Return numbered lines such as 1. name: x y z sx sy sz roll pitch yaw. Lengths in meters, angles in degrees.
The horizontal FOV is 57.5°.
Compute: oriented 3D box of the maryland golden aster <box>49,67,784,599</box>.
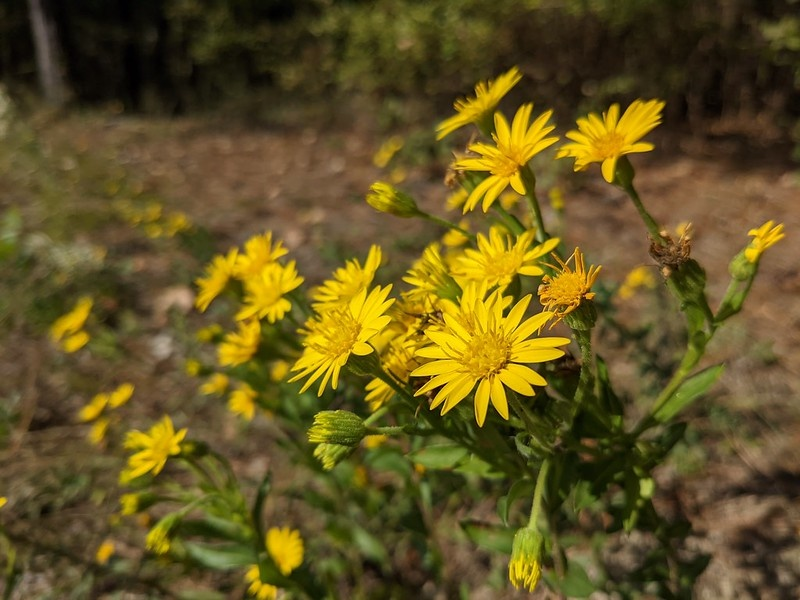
1. maryland golden aster: 0.095 0.235 2.749 2.251 2.041 1.489 5 26 22
